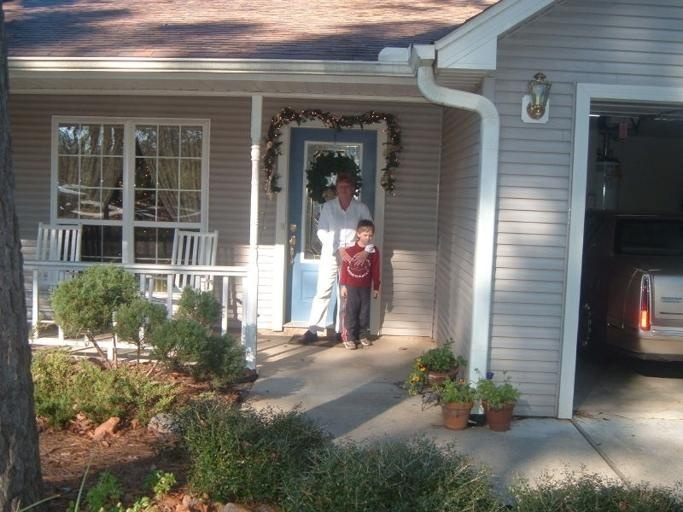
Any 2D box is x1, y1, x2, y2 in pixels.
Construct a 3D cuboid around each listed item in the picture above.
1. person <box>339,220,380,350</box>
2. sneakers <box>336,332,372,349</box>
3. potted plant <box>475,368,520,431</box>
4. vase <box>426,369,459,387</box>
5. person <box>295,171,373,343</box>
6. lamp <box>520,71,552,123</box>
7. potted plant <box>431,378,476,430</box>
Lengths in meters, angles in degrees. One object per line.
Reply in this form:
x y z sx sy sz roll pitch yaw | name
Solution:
0.206 0.336 9.327 0.463 1.527 0.556 1 3 7 | person
0.172 1.015 9.510 0.142 0.216 0.429 2 -7 -29 | sneakers
1.435 1.335 7.252 0.372 0.493 0.289 1 3 10 | potted plant
0.963 1.135 7.509 0.195 0.079 0.168 -3 4 -24 | vase
-0.069 0.046 9.565 0.788 2.101 0.618 1 14 -11 | person
1.799 -1.447 7.225 0.274 0.446 0.243 1 3 2 | lamp
1.064 1.369 7.282 0.312 0.377 0.321 1 8 -4 | potted plant
